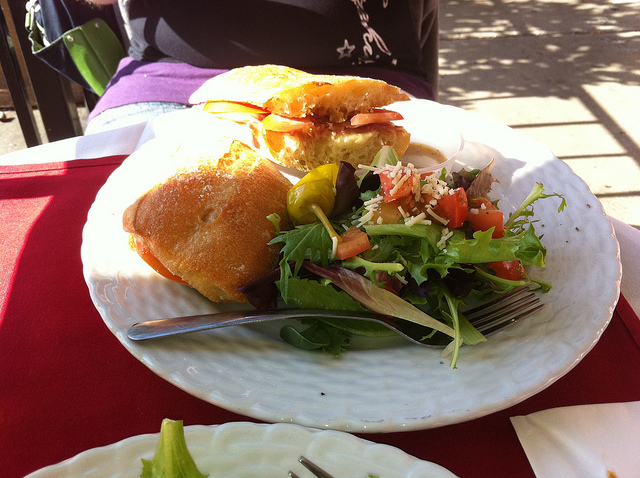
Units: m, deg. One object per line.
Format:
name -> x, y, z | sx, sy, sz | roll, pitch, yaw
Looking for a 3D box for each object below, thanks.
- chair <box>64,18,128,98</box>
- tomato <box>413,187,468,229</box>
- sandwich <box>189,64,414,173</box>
chair -> -1.340, -1.080, 3.470 | 0.303, 0.619, 0.136 | -39, 88, -8
tomato -> 0.372, -0.101, 1.733 | 0.131, 0.109, 0.198 | -2, 14, -14
sandwich -> -0.107, -0.549, 2.464 | 0.531, 0.268, 0.753 | -22, 37, -40
